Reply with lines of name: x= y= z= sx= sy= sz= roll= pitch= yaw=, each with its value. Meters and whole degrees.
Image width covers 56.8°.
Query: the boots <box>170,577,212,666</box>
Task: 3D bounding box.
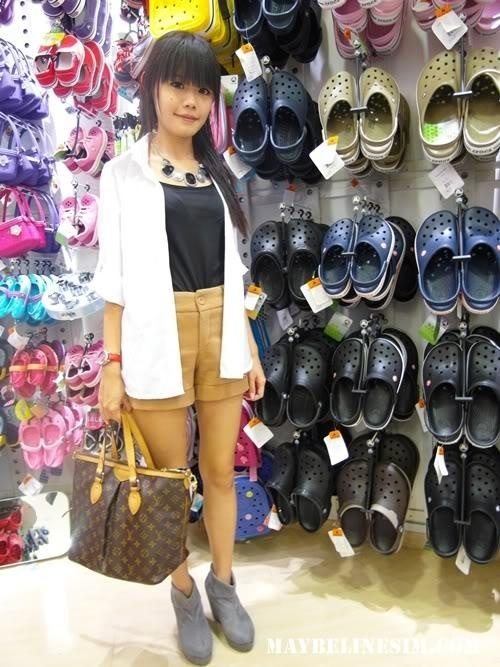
boots: x=-0.167 y=0.752 z=1.272 sx=0.075 sy=0.094 sz=0.239 roll=-10 pitch=36 yaw=-7

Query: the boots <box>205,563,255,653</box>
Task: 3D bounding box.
boots: x=-0.074 y=0.751 z=1.337 sx=0.080 sy=0.159 sz=0.246 roll=-18 pitch=21 yaw=-14

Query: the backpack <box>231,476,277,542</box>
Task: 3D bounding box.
backpack: x=-0.009 y=0.696 z=1.857 sx=0.193 sy=0.292 sz=0.084 roll=-11 pitch=11 yaw=3

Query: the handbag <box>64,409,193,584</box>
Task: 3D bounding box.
handbag: x=-0.288 y=0.367 z=1.081 sx=0.303 sy=0.414 sz=0.147 roll=8 pitch=18 yaw=8

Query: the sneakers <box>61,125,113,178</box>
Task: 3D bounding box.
sneakers: x=-0.701 y=-0.795 z=2.019 sx=0.159 sy=0.233 sz=0.079 roll=21 pitch=7 yaw=22
